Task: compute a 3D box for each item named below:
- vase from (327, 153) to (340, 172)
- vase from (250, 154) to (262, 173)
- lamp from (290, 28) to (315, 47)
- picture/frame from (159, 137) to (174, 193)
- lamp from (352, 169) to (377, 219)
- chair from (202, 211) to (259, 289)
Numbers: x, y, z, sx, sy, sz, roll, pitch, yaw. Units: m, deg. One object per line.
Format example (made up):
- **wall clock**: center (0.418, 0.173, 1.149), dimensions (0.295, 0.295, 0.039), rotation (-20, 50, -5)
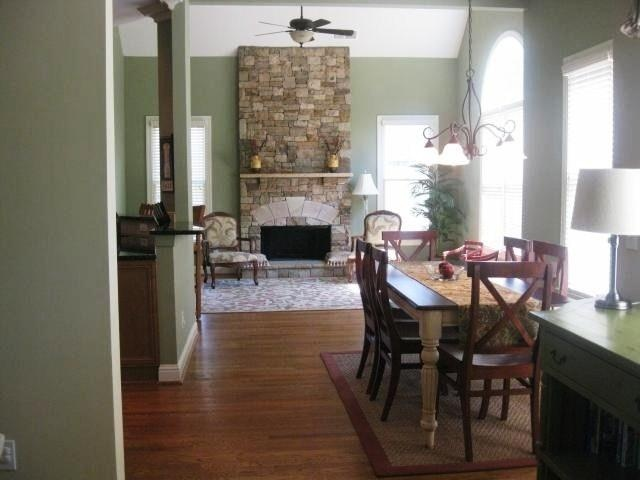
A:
- **vase**: center (0.199, -1.204, 8.566), dimensions (0.238, 0.394, 0.238), rotation (1, 2, 1)
- **vase**: center (-0.992, -1.195, 8.519), dimensions (0.186, 0.286, 0.181), rotation (-1, 9, -8)
- **lamp**: center (-0.190, -2.108, 5.774), dimensions (0.224, 0.117, 0.372), rotation (0, 9, 4)
- **picture/frame**: center (-1.424, -0.685, 5.081), dimensions (0.121, 0.558, 0.027), rotation (-6, 35, -22)
- **lamp**: center (0.702, -0.610, 8.539), dimensions (0.360, 0.864, 0.344), rotation (1, 12, 10)
- **chair**: center (-1.326, 0.113, 8.042), dimensions (0.755, 1.109, 0.812), rotation (-2, 2, -11)
